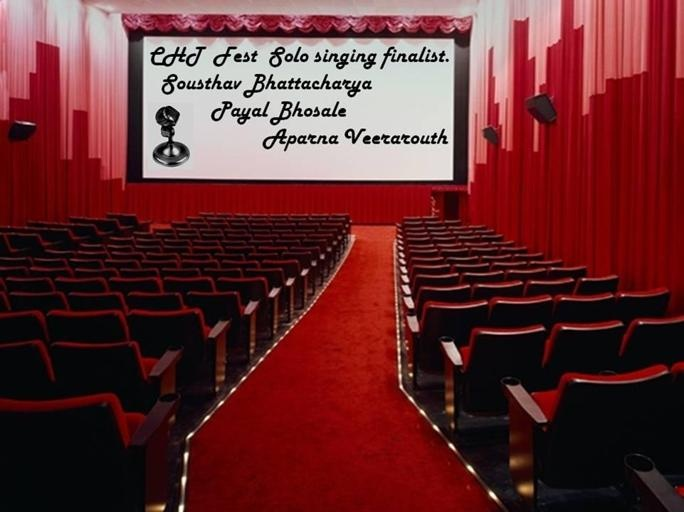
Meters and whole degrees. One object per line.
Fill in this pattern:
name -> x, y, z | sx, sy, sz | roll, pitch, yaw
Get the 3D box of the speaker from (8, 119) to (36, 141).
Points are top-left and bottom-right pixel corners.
speaker -> -6.932, -2.704, 11.385 | 0.501, 0.386, 0.542 | 10, 15, 34

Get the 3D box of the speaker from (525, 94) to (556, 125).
speaker -> 3.204, -2.303, 8.352 | 0.178, 0.528, 0.377 | -52, 26, -21
